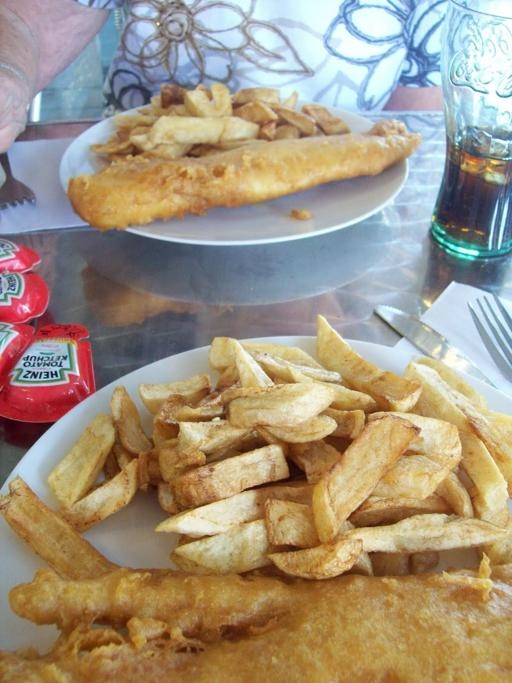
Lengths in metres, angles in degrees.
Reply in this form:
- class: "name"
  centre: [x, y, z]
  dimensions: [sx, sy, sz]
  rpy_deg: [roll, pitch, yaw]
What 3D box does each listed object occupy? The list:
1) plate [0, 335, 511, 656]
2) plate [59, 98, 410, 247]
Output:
- class: "plate"
  centre: [0.006, 0.147, 0.815]
  dimensions: [0.715, 0.103, 0.458]
  rpy_deg: [-14, 41, -17]
- class: "plate"
  centre: [-0.062, -0.392, 1.480]
  dimensions: [0.835, 0.130, 0.663]
  rpy_deg: [6, 39, 8]
